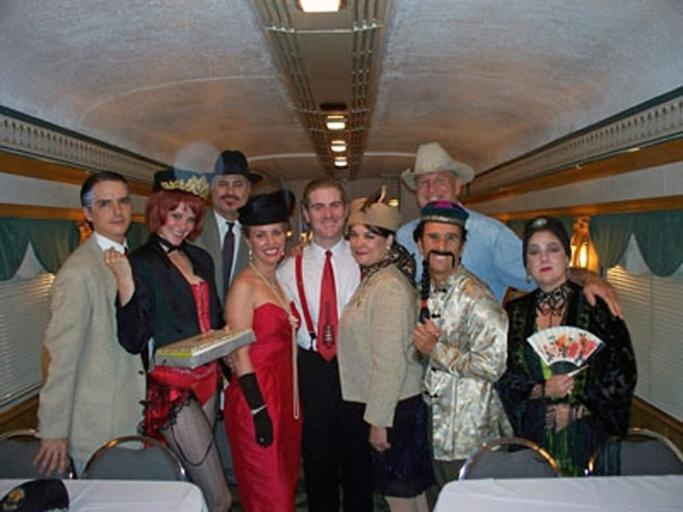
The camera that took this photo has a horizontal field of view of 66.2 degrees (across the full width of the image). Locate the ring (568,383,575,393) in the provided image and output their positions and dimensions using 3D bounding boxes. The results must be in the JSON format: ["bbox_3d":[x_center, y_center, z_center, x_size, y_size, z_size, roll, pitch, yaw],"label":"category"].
[{"bbox_3d":[1.626,0.940,3.706,0.022,0.084,0.053,17,3,25],"label":"ring"}]

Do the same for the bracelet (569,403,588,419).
[{"bbox_3d":[1.682,1.116,3.727,0.119,0.089,0.033,-11,-4,2],"label":"bracelet"}]

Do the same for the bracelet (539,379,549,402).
[{"bbox_3d":[1.439,0.969,3.721,0.029,0.110,0.077,3,-4,-18],"label":"bracelet"}]

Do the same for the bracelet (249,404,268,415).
[{"bbox_3d":[-0.584,1.088,3.679,0.082,0.030,0.065,-26,7,-8],"label":"bracelet"}]

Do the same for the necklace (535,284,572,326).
[{"bbox_3d":[1.553,0.366,3.865,0.191,0.334,0.176,6,9,23],"label":"necklace"}]
